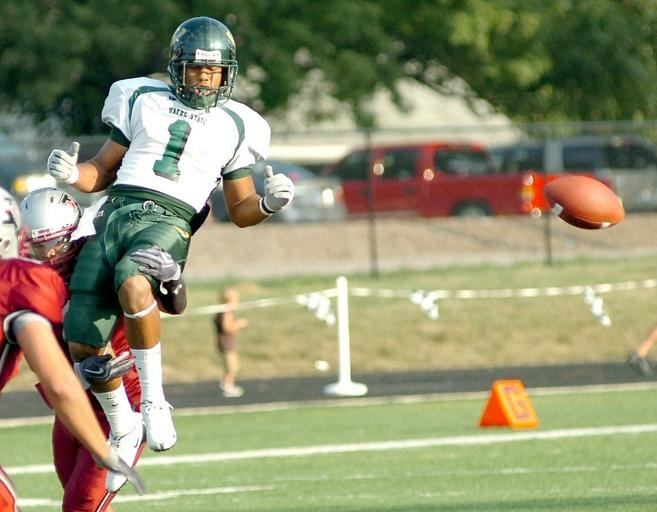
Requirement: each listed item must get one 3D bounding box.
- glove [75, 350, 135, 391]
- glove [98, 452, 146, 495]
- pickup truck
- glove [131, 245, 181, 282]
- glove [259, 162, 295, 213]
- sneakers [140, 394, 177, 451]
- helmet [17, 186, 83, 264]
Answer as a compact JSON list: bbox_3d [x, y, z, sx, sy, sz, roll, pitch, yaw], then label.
[{"bbox_3d":[-1.695,0.840,10.294,0.291,0.308,0.447,2,7,13],"label":"glove"},{"bbox_3d":[-1.510,1.591,10.027,0.375,0.311,0.343,-2,6,-1],"label":"glove"},{"bbox_3d":[1.548,-1.083,20.309,4.880,1.112,2.684,-2,7,9],"label":"pickup truck"},{"bbox_3d":[-1.327,0.069,10.374,0.343,0.214,0.103,33,-29,-25],"label":"glove"},{"bbox_3d":[-0.397,-0.528,10.864,0.195,0.420,0.174,13,22,43],"label":"glove"},{"bbox_3d":[-1.331,1.333,10.630,0.196,0.463,0.215,-14,-13,-7],"label":"sneakers"},{"bbox_3d":[-2.137,-0.233,10.320,0.457,0.444,0.576,4,16,1],"label":"helmet"}]
